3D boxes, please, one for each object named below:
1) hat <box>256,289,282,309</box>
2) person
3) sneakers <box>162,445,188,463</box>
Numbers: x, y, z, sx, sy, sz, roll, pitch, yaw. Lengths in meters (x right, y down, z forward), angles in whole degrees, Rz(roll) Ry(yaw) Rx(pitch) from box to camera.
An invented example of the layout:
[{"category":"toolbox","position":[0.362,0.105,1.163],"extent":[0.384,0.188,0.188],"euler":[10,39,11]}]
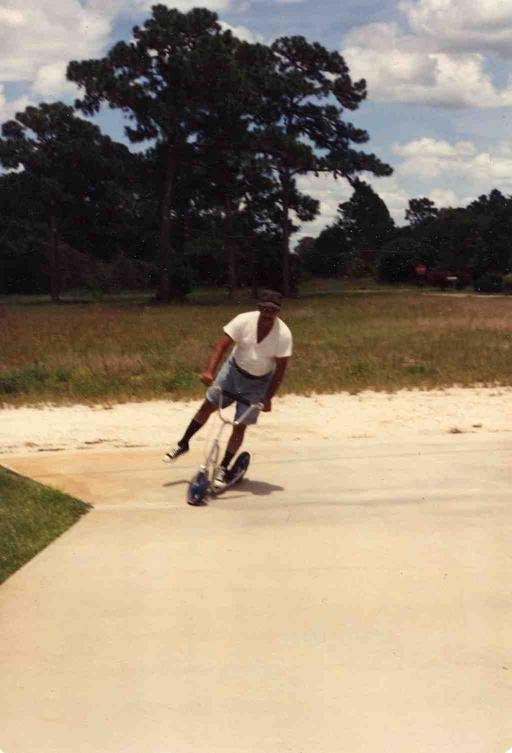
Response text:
[{"category":"hat","position":[0.098,-0.540,6.059],"extent":[0.125,0.088,0.178],"euler":[16,1,1]},{"category":"person","position":[-0.176,0.088,6.680],"extent":[0.855,1.606,1.178],"euler":[1,14,-4]},{"category":"sneakers","position":[-0.635,0.602,6.784],"extent":[0.254,0.096,0.084],"euler":[-25,44,-39]}]
